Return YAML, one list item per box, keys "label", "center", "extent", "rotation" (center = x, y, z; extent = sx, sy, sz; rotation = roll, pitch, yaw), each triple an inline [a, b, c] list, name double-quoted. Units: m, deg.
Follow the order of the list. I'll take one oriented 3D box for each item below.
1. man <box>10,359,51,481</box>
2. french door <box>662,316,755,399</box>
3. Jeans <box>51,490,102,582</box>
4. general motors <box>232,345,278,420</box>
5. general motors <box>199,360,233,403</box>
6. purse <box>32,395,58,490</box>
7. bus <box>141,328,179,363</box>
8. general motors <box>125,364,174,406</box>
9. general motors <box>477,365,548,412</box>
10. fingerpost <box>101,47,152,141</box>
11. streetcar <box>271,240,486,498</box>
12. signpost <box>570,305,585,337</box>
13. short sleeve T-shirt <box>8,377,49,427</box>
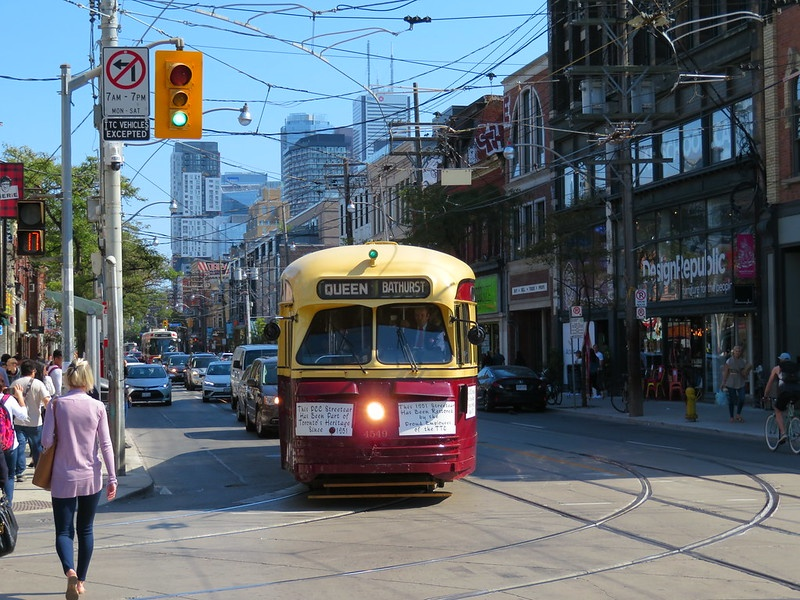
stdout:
- label: "man"
  center: [-7.141, 2.258, 23.980]
  extent: [0.650, 2.271, 0.766]
  rotation: [6, 7, 43]
- label: "french door"
  center: [9.610, 1.710, 38.931]
  extent: [2.880, 2.679, 1.033]
  rotation: [1, 3, 29]
- label: "Jeans"
  center: [-4.254, 2.874, 16.557]
  extent: [0.583, 1.953, 0.433]
  rotation: [1, 19, -13]
- label: "general motors"
  center: [-4.185, 2.016, 36.806]
  extent: [1.454, 1.360, 2.669]
  rotation: [1, -7, -10]
- label: "general motors"
  center: [-6.590, 2.904, 45.400]
  extent: [1.013, 0.946, 2.236]
  rotation: [1, -8, -10]
- label: "purse"
  center: [-4.681, 1.903, 16.649]
  extent: [0.311, 1.167, 0.186]
  rotation: [-1, -1, -18]
- label: "bus"
  center: [-16.579, 3.096, 87.097]
  extent: [1.778, 2.267, 5.475]
  rotation: [0, -6, -16]
- label: "general motors"
  center: [-8.774, 2.950, 43.744]
  extent: [1.336, 0.986, 2.910]
  rotation: [0, -8, -11]
- label: "general motors"
  center: [3.221, 2.560, 37.084]
  extent: [1.170, 0.854, 2.599]
  rotation: [0, -2, -7]
- label: "fingerpost"
  center: [-5.115, -3.850, 23.441]
  extent: [0.867, 1.748, 0.395]
  rotation: [-1, -1, -11]
- label: "streetcar"
  center: [-0.367, 1.146, 21.069]
  extent: [3.334, 4.269, 1.300]
  rotation: [-1, -1, -5]
- label: "signpost"
  center: [5.383, 0.647, 38.479]
  extent: [0.361, 0.973, 0.956]
  rotation: [-1, -2, 7]
- label: "short sleeve T-shirt"
  center: [-6.748, 1.845, 22.840]
  extent: [0.914, 1.015, 0.362]
  rotation: [1, 4, -10]
